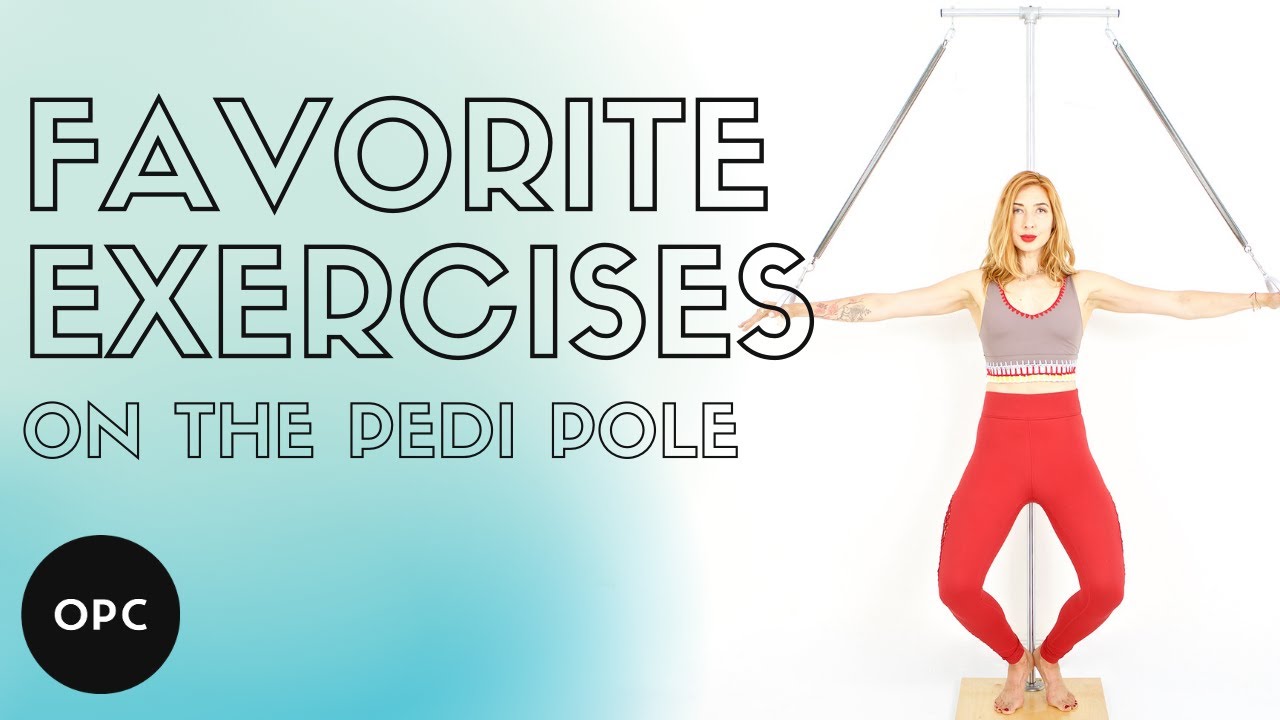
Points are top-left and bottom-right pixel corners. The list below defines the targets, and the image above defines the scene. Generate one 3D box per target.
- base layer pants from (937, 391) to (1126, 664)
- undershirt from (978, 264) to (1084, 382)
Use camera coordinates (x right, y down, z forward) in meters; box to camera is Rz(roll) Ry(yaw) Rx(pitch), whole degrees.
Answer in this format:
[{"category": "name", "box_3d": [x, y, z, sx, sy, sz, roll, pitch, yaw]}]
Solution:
[{"category": "base layer pants", "box_3d": [1.797, 0.748, 6.126, 0.768, 1.053, 0.708, 17, -31, -20]}, {"category": "undershirt", "box_3d": [1.785, -0.157, 6.211, 0.485, 0.525, 0.312, -3, -13, 15]}]
